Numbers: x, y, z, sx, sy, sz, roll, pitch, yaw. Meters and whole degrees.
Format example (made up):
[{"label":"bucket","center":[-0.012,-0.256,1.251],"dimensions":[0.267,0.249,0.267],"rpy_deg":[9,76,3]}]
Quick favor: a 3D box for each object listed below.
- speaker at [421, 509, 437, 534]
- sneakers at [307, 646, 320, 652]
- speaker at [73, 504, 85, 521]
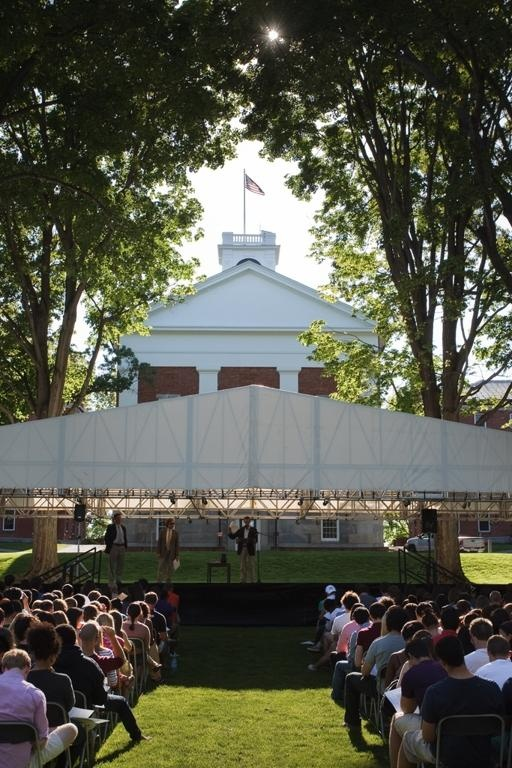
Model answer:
[{"label":"speaker","center":[3.825,3.054,17.600],"dimensions":[0.295,0.498,0.412],"rpy_deg":[0,-8,5]},{"label":"sneakers","center":[0.924,4.395,13.055],"dimensions":[0.230,0.101,0.079],"rpy_deg":[-1,-21,17]},{"label":"speaker","center":[-4.137,3.034,18.550],"dimensions":[0.258,0.402,0.473],"rpy_deg":[3,-9,-12]}]
